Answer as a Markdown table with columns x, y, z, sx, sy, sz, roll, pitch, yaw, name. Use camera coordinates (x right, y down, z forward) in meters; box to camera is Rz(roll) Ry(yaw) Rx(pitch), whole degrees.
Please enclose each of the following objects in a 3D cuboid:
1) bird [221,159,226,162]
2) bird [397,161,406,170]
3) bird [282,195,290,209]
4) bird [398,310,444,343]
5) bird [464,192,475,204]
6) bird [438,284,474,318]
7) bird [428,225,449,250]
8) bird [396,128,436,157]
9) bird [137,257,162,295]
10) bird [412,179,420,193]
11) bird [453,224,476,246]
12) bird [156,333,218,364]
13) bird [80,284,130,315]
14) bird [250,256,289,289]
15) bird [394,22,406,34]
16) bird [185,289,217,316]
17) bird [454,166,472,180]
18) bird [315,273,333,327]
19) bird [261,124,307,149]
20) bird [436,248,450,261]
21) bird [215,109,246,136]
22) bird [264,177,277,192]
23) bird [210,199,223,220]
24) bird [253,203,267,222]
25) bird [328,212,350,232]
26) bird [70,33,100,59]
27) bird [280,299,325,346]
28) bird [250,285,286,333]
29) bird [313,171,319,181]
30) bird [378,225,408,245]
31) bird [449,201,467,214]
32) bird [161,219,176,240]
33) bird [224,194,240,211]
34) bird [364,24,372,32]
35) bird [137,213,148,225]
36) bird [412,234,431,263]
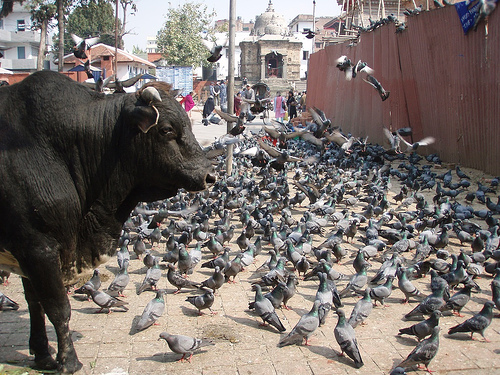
| x | y | z | sx | sy | sz | roll | pitch | yaw | name |
| --- | --- | --- | --- | --- | --- | --- | --- | --- | --- |
| -0.945 | -0.953 | 16.526 | 0.123 | 0.037 | 0.125 | 1 | 14 | -28 | bird |
| 5.409 | -0.787 | 16.451 | 0.354 | 0.362 | 0.151 | -4 | -39 | 41 | bird |
| 0.898 | 0.326 | 11.784 | 0.112 | 0.405 | 0.215 | 6 | -11 | 29 | bird |
| 2.298 | 1.879 | 6.281 | 0.609 | 0.498 | 0.232 | -1 | 1 | 31 | bird |
| 5.911 | 0.255 | 12.383 | 0.146 | 0.217 | 0.266 | 8 | -38 | 0 | bird |
| 3.068 | 1.687 | 6.947 | 0.617 | 0.452 | 0.231 | -5 | 9 | -7 | bird |
| 3.818 | 1.007 | 9.348 | 0.345 | 0.470 | 0.288 | 6 | 6 | 42 | bird |
| 5.713 | -1.509 | 15.809 | 1.187 | 0.614 | 0.913 | 15 | 23 | -3 | bird |
| -1.637 | 1.472 | 7.480 | 0.228 | 0.510 | 0.770 | 8 | 15 | 15 | bird |
| 4.860 | -0.034 | 13.529 | 0.222 | 0.369 | 0.381 | 4 | 5 | 20 | bird |
| 4.505 | 1.052 | 9.750 | 0.364 | 0.379 | 0.592 | 4 | 5 | 16 | bird |
| -0.787 | 2.002 | 5.957 | 0.766 | 0.448 | 0.244 | -8 | 3 | -27 | bird |
| -2.154 | 1.667 | 6.918 | 0.685 | 0.418 | 0.242 | 1 | 4 | -11 | bird |
| 0.341 | 1.451 | 7.649 | 0.697 | 0.564 | 0.248 | -7 | 4 | -21 | bird |
| 6.043 | -6.388 | 18.536 | 0.255 | 0.380 | 0.505 | 2 | 4 | -5 | bird |
| -0.760 | 1.695 | 6.992 | 0.552 | 0.418 | 0.290 | 4 | 6 | 32 | bird |
| 6.562 | -0.439 | 14.208 | 0.451 | 0.409 | 0.632 | 4 | 5 | 25 | bird |
| 0.991 | 1.650 | 6.751 | 0.228 | 0.431 | 0.672 | 4 | 36 | 5 | bird |
| 1.322 | -1.927 | 17.856 | 1.519 | 0.793 | 1.048 | 7 | 27 | 1 | bird |
| 3.647 | 1.280 | 8.768 | 0.134 | 0.184 | 0.181 | -10 | -21 | -4 | bird |
| -0.583 | -1.988 | 14.779 | 0.514 | 0.705 | 1.192 | 42 | 19 | 32 | bird |
| 0.679 | -0.079 | 13.541 | 0.179 | 0.313 | 0.456 | 7 | 24 | 28 | bird |
| -0.779 | 0.503 | 11.609 | 0.220 | 0.512 | 0.492 | 6 | -18 | 16 | bird |
| 0.311 | 0.596 | 11.011 | 0.437 | 0.471 | 0.220 | 1 | 8 | 6 | bird |
| 1.974 | 0.841 | 10.385 | 0.212 | 0.439 | 0.664 | 10 | 22 | 37 | bird |
| -5.358 | -4.520 | 14.970 | 0.710 | 0.916 | 1.705 | 1 | 5 | -22 | bird |
| 0.781 | 1.835 | 6.311 | 0.375 | 0.578 | 0.806 | 6 | 6 | 40 | bird |
| 0.247 | 1.735 | 6.621 | 0.223 | 0.537 | 0.624 | -19 | 28 | -41 | bird |
| 2.122 | -0.365 | 14.768 | 0.100 | 0.314 | 0.221 | -1 | 5 | 9 | bird |
| 2.872 | 0.946 | 9.481 | 0.713 | 0.494 | 0.240 | 5 | -8 | 7 | bird |
| 5.120 | 0.512 | 11.342 | 0.360 | 0.250 | 0.692 | 4 | 5 | 20 | bird |
| -1.796 | 0.867 | 9.813 | 0.405 | 0.423 | 0.242 | -14 | -13 | 35 | bird |
| -0.441 | 0.395 | 12.140 | 0.169 | 0.354 | 0.546 | 4 | 20 | 40 | bird |
| 5.259 | -7.073 | 20.557 | 0.199 | 0.208 | 0.869 | 3 | 5 | 9 | bird |
| -2.443 | 0.721 | 10.472 | 0.214 | 0.261 | 0.224 | -10 | -9 | 26 | bird |
| 3.308 | 1.193 | 8.891 | 0.329 | 0.551 | 0.295 | 2 | 4 | -6 | bird |
